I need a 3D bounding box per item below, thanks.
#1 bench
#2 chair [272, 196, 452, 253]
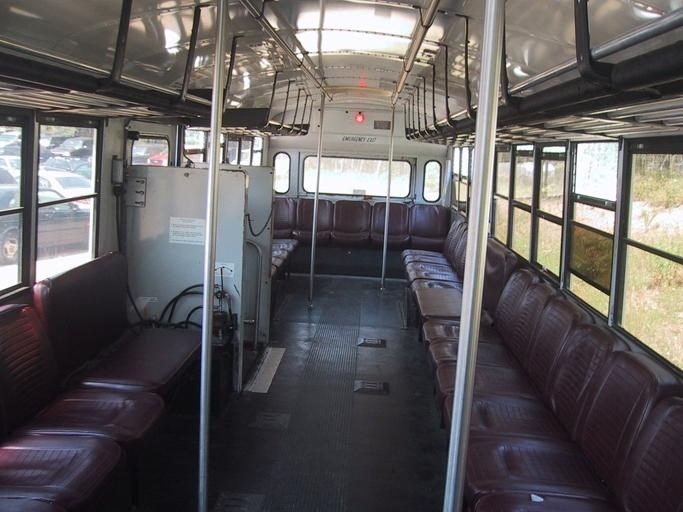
[{"bbox_3d":[-1.881,0.722,4.391,1.049,1.240,1.389,8,9,6],"label":"bench"},{"bbox_3d":[0.418,-0.735,11.438,4.194,1.126,1.183,2,6,2],"label":"chair"}]
